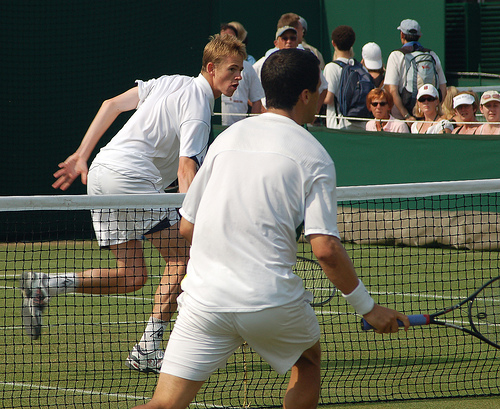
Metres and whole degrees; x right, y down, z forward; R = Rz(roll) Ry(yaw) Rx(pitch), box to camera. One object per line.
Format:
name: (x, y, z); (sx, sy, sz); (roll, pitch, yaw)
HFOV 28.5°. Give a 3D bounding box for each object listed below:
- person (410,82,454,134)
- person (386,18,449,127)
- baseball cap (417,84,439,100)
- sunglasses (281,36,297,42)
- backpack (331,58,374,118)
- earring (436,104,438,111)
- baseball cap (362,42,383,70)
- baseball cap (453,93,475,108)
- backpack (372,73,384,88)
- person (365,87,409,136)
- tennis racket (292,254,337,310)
person: (2.352, -1.256, 12.950); (0.529, 0.673, 0.789); (2, 11, 8)
person: (2.273, -1.516, 13.692); (0.753, 2.112, 0.699); (-11, 14, -33)
baseball cap: (2.253, -1.443, 12.688); (0.259, 0.200, 0.306); (3, 12, 11)
sunglasses: (0.500, -2.216, 13.161); (0.193, 0.076, 0.127); (0, 12, -2)
backpack: (1.359, -1.617, 13.779); (0.438, 0.870, 0.728); (-1, 8, -34)
earring: (2.422, -1.267, 12.946); (0.019, 0.092, 0.021); (10, 39, 14)
baseball cap: (1.753, -2.193, 14.331); (0.291, 0.294, 0.508); (-2, 26, -9)
baseball cap: (2.626, -1.301, 12.318); (0.272, 0.178, 0.202); (6, 13, 25)
backpack: (1.809, -1.779, 14.182); (0.054, 0.221, 0.203); (25, -37, -25)
person: (1.802, -1.248, 13.196); (0.392, 0.845, 0.268); (-14, 0, 18)
tennis racket: (0.616, 0.749, 9.887); (0.034, 0.485, 0.556); (-31, 15, -28)
